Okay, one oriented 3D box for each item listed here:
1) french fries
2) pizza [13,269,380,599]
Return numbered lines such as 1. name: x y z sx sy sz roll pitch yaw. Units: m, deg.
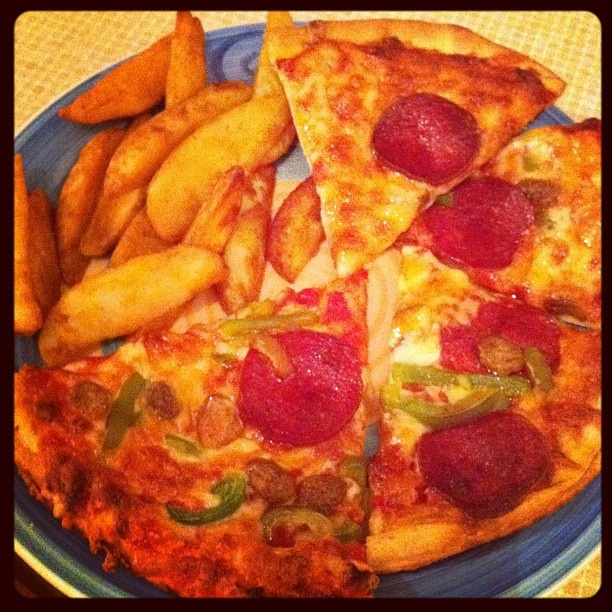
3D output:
1. french fries: -0.338 -0.209 1.624 0.502 0.128 0.670 10 82 13
2. pizza: -0.190 0.235 1.276 0.587 0.131 0.473 -2 68 2
